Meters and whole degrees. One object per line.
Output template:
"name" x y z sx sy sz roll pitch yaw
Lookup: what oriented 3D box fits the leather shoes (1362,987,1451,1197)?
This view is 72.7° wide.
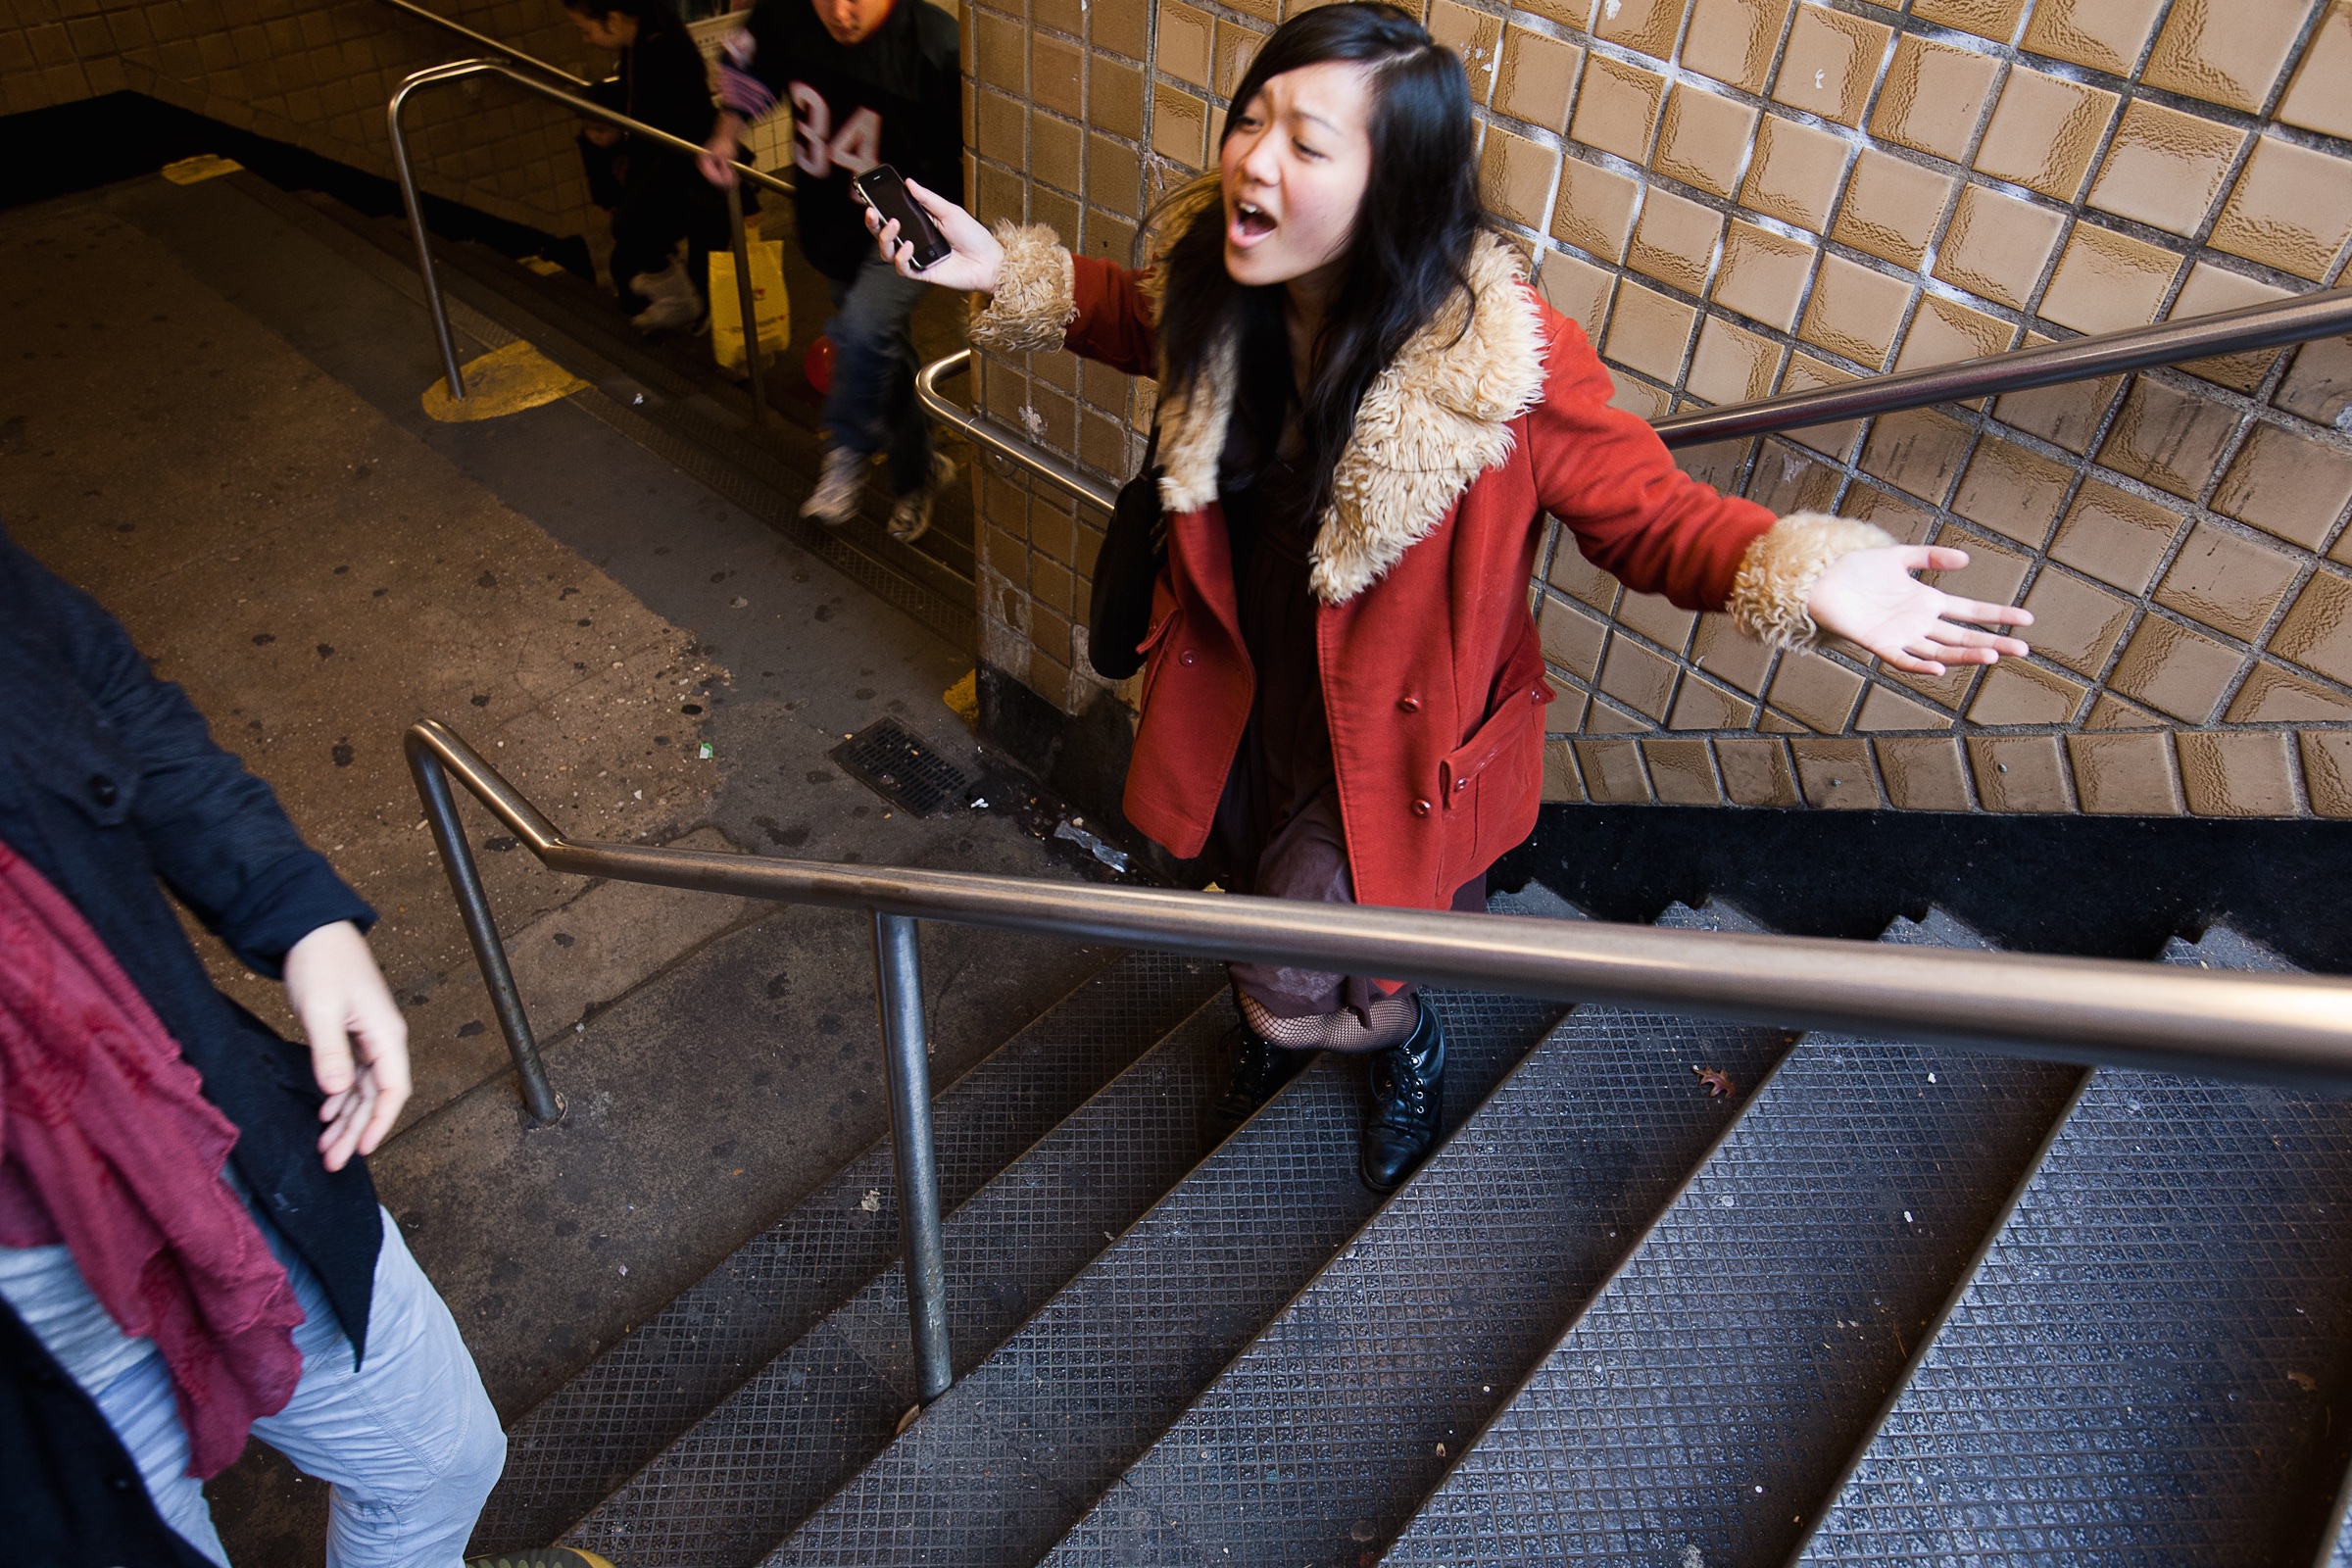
"leather shoes" 0.420 0.574 2.924 0.122 0.157 0.383 14 68 24

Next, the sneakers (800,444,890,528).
"sneakers" -0.915 -0.809 4.399 0.189 0.284 0.113 22 30 -11

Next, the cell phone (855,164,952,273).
"cell phone" -0.460 -0.971 2.721 0.109 0.036 0.190 -42 96 -23

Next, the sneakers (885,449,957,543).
"sneakers" -0.721 -0.816 4.494 0.100 0.116 0.285 12 70 16
